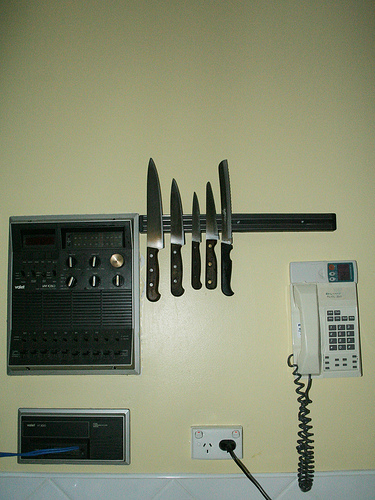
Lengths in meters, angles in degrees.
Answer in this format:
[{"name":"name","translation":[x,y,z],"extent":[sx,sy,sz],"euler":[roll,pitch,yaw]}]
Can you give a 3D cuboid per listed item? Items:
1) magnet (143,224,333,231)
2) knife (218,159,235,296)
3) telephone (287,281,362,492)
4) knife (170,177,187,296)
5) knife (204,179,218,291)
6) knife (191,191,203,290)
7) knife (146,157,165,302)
[{"name":"magnet","translation":[0.153,-0.071,1.806],"extent":[0.578,0.028,0.011],"euler":[1,-9,0]},{"name":"knife","translation":[0.114,-0.076,1.796],"extent":[0.043,0.418,0.035],"euler":[-1,-9,7]},{"name":"telephone","translation":[0.411,0.393,1.751],"extent":[0.226,0.601,0.077],"euler":[2,-9,-7]},{"name":"knife","translation":[-0.032,-0.039,1.786],"extent":[0.039,0.343,0.036],"euler":[0,-9,1]},{"name":"knife","translation":[0.074,-0.042,1.797],"extent":[0.037,0.320,0.050],"euler":[1,-9,-3]},{"name":"knife","translation":[0.027,-0.028,1.785],"extent":[0.029,0.280,0.041],"euler":[0,-9,1]},{"name":"knife","translation":[-0.099,-0.061,1.802],"extent":[0.055,0.427,0.060],"euler":[1,-9,-4]}]
